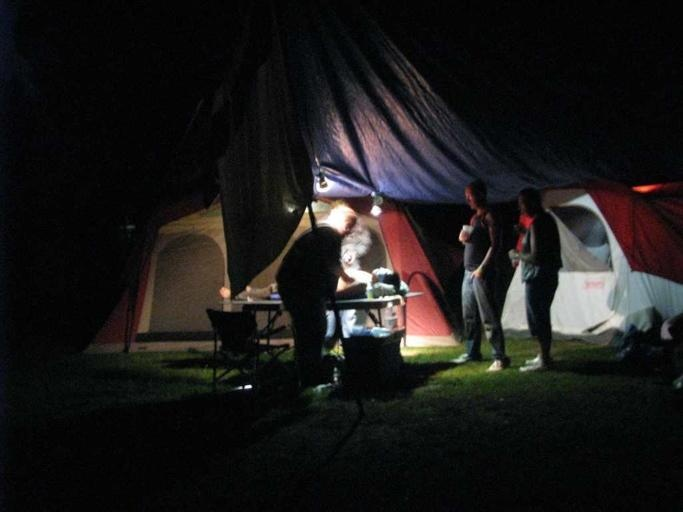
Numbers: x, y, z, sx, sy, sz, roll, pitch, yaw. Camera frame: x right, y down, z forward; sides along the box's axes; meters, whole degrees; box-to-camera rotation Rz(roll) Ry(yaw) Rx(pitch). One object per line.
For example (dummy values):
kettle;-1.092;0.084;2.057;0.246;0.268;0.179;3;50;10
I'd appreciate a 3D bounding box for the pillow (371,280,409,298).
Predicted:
pillow;0.538;0.360;6.278;0.285;0.122;0.196;-4;-36;0

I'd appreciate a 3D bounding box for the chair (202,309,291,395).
chair;-1.072;0.912;5.849;0.501;0.703;0.583;-17;-6;-11

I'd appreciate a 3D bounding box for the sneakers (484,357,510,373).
sneakers;1.777;1.247;6.342;0.302;0.170;0.127;3;-2;-10

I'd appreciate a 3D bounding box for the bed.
bed;-0.066;0.671;6.566;1.266;0.454;1.853;-2;0;-14

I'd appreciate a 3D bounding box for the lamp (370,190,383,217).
lamp;0.536;-0.748;8.083;0.091;0.288;0.207;-9;39;-27

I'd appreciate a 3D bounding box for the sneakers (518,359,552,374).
sneakers;2.154;1.246;6.243;0.201;0.082;0.183;-4;-1;5

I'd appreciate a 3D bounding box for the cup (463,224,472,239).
cup;1.502;-0.297;6.661;0.115;0.200;0.131;2;-2;20

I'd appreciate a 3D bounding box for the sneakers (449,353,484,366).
sneakers;1.542;1.289;6.922;0.394;0.173;0.154;2;-11;8

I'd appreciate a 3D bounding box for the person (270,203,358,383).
person;-0.256;0.434;5.415;0.606;1.521;0.778;0;8;17

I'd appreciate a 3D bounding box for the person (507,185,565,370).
person;2.144;0.296;6.229;0.501;2.061;0.500;3;9;33
